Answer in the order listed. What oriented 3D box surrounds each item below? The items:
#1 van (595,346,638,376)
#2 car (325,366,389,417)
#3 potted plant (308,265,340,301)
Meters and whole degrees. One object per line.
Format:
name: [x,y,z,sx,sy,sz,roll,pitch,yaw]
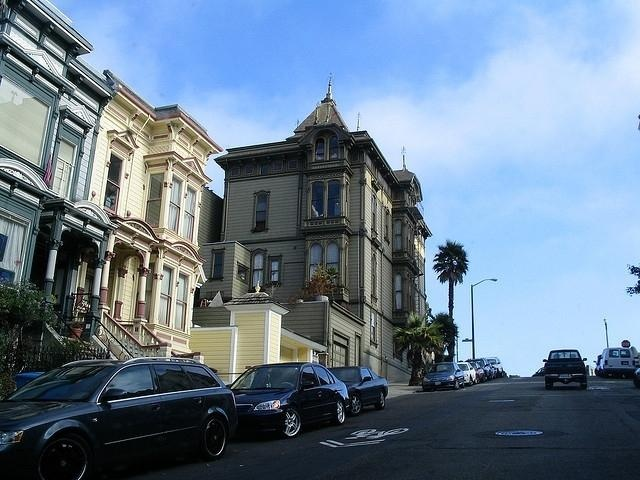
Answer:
van: [22.738,9.340,42.925,2.250,2.268,3.873,-4,-16,20]
car: [1.529,5.492,20.964,1.338,0.981,2.755,-6,-20,17]
potted plant: [0.232,2.993,38.031,2.260,2.680,1.898,0,-21,9]
